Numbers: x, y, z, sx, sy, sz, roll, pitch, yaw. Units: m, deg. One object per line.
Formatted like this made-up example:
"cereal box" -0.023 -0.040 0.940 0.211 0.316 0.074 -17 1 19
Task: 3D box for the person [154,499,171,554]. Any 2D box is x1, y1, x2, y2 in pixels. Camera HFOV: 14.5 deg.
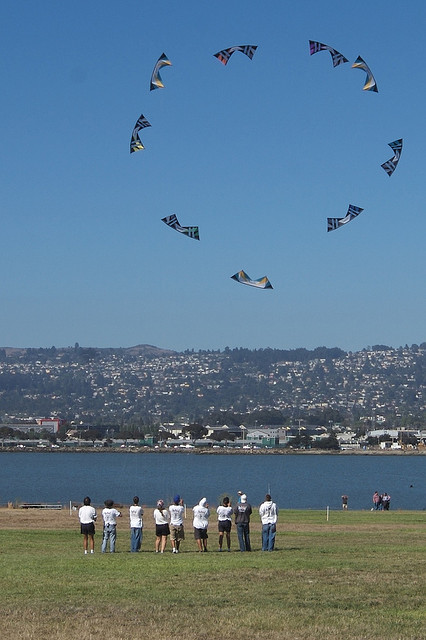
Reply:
"person" -1.298 5.023 40.751 0.403 1.426 1.404 0 4 -2

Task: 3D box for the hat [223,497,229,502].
"hat" 0.292 4.426 41.251 0.142 0.122 0.172 0 4 -1

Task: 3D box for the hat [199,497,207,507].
"hat" -0.292 4.457 41.066 0.103 0.244 0.170 -4 -11 21

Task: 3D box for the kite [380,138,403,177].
"kite" 2.538 -2.288 23.276 0.236 0.009 0.902 9 -31 1
